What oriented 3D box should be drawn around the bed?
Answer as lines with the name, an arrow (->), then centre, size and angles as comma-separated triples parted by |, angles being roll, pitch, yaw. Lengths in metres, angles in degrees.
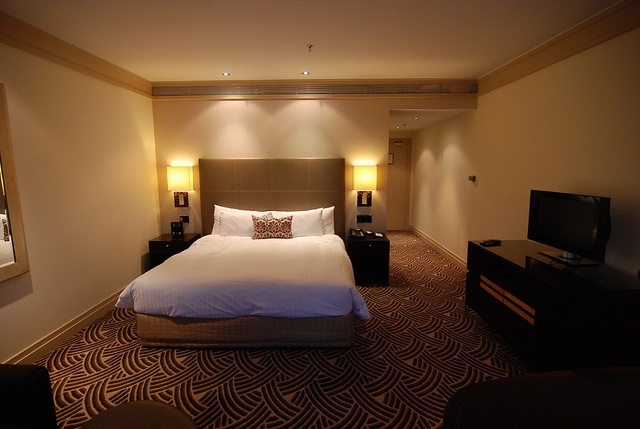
bed -> -0.793, 0.617, 5.598 | 2.591, 1.235, 2.835 | 0, 10, 5

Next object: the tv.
tv -> 2.622, 0.094, 4.285 | 0.267, 0.661, 0.838 | -7, 13, -21

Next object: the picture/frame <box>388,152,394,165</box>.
picture/frame -> 1.455, -1.138, 8.396 | 0.091, 0.228, 0.030 | 0, 9, 6

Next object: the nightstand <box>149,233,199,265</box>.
nightstand -> -2.088, 0.431, 5.912 | 0.556, 0.529, 0.437 | 0, 9, -2

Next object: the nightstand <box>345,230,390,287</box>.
nightstand -> 0.671, 0.630, 6.022 | 0.663, 0.857, 0.650 | 0, 5, 5

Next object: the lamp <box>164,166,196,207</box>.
lamp -> -2.019, -0.399, 6.000 | 0.363, 0.610, 0.232 | -3, 9, -17

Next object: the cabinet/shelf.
cabinet/shelf -> 2.388, 0.990, 4.549 | 0.818, 1.035, 1.544 | 0, 12, -9

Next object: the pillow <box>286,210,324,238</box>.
pillow -> -0.220, 0.148, 5.774 | 0.359, 0.247, 0.124 | -3, -31, 0
